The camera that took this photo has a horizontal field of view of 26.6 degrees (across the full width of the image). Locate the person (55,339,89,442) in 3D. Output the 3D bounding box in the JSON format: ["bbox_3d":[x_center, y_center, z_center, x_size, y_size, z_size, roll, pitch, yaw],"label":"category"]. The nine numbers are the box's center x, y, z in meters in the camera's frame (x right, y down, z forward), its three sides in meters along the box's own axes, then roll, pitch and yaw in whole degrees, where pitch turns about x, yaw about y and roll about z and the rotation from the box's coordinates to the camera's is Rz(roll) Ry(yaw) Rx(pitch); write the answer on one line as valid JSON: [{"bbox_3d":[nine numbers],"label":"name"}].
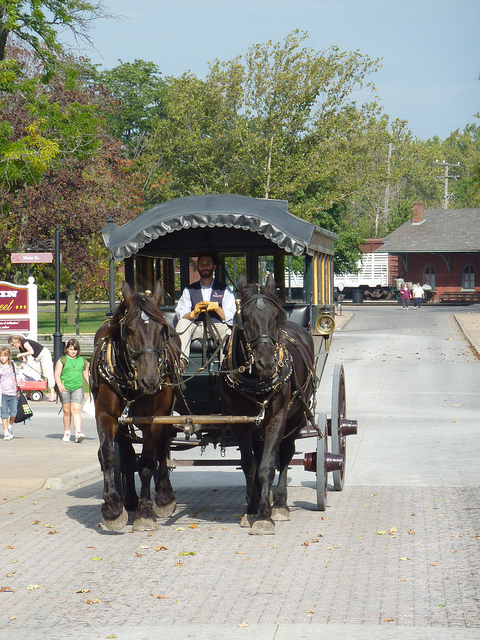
[{"bbox_3d":[-2.484,1.016,14.953,0.423,1.501,0.562,-2,2,-7],"label":"person"}]

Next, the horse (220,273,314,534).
[{"bbox_3d":[0.236,0.684,8.487,0.730,2.134,1.874,-1,2,4],"label":"horse"}]
